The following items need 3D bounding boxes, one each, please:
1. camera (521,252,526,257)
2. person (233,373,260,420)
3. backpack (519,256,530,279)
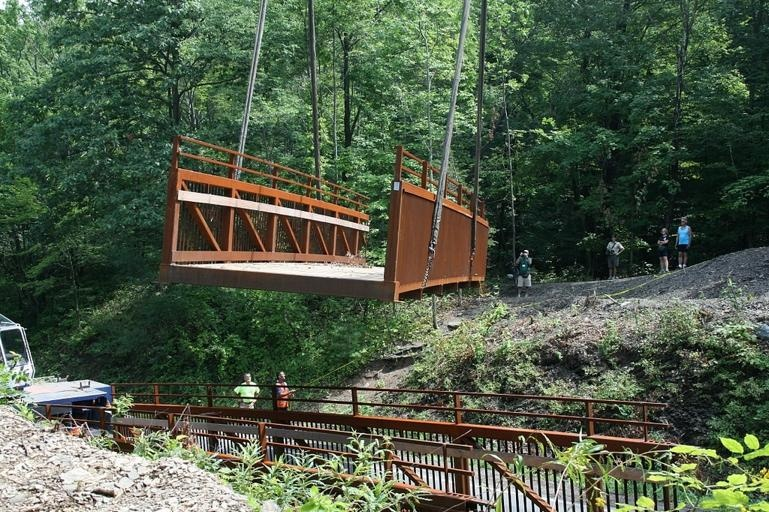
[{"bbox_3d":[6.877,-0.094,35.371,0.359,0.161,0.461,-1,-1,3],"label":"camera"},{"bbox_3d":[-5.044,5.275,26.630,1.008,1.789,0.638,-1,6,-20],"label":"person"},{"bbox_3d":[6.791,0.528,34.670,0.440,0.980,0.890,0,-5,3],"label":"backpack"}]
